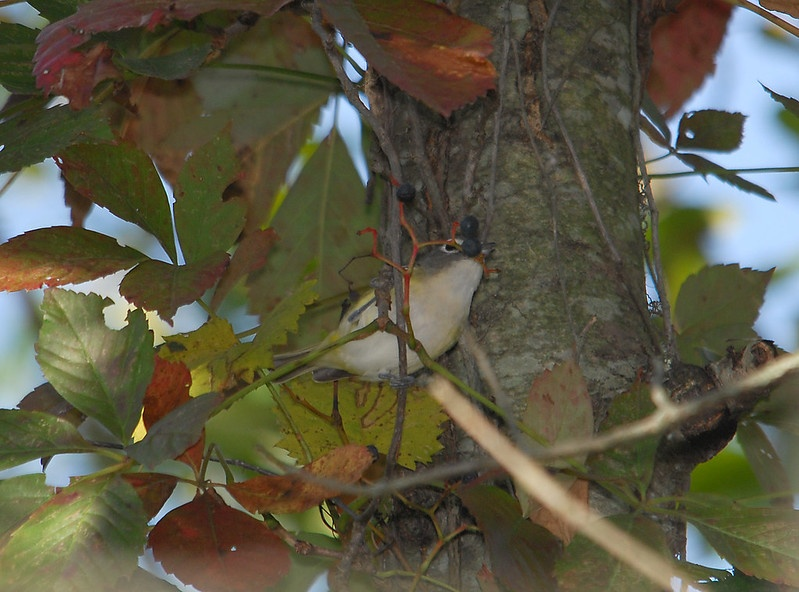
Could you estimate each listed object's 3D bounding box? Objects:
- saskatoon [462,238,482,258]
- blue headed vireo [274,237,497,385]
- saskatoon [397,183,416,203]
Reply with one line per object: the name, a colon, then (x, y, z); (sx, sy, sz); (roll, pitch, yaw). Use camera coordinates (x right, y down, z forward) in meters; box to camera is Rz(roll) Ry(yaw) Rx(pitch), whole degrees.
saskatoon: (0.101, -0.068, 2.109); (0.022, 0.013, 0.026); (-8, 92, 1)
blue headed vireo: (0.026, 0.003, 2.229); (0.122, 0.365, 0.220); (-13, 102, -32)
saskatoon: (0.012, -0.151, 2.151); (0.026, 0.016, 0.029); (-21, 88, 13)
